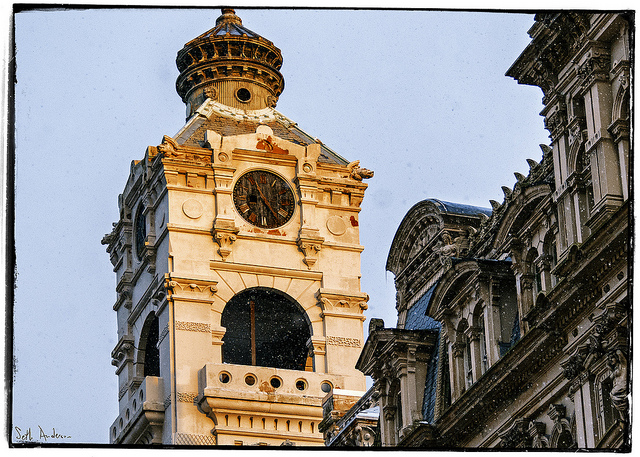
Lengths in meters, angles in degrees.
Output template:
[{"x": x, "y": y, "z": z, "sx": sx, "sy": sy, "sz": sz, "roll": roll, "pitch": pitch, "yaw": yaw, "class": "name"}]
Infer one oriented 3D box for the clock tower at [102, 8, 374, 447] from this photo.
[{"x": -4.170, "y": -0.925, "z": 116.775, "sx": 13.318, "sy": 31.761, "sz": 11.645, "roll": 2, "pitch": -28, "yaw": 0, "class": "clock tower"}]
